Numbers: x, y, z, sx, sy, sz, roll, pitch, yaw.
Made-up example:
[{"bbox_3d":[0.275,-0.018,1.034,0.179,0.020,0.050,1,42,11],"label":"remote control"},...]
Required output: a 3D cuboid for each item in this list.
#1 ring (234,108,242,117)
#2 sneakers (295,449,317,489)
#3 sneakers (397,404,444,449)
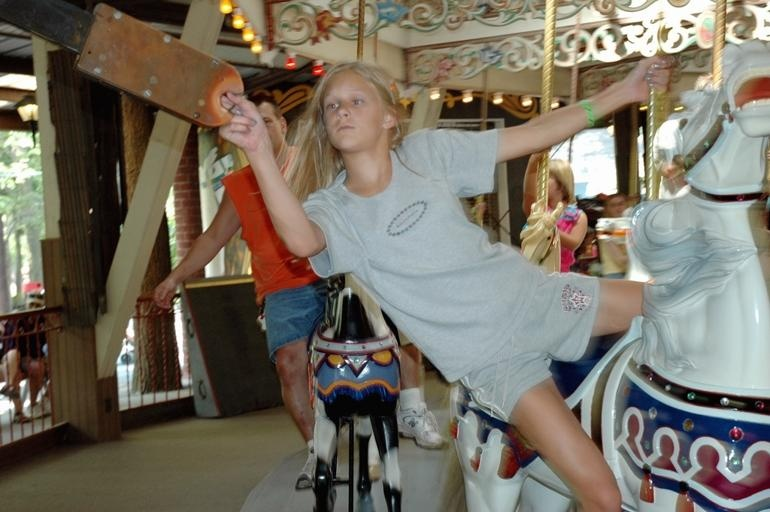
[{"bbox_3d":[-0.451,-0.435,1.899,0.028,0.028,0.007,-10,4,-16],"label":"ring"},{"bbox_3d":[-0.399,1.165,3.446,0.132,0.183,0.420,-2,-12,1],"label":"sneakers"},{"bbox_3d":[0.229,1.003,3.753,0.178,0.225,0.496,-5,-7,-25],"label":"sneakers"}]
